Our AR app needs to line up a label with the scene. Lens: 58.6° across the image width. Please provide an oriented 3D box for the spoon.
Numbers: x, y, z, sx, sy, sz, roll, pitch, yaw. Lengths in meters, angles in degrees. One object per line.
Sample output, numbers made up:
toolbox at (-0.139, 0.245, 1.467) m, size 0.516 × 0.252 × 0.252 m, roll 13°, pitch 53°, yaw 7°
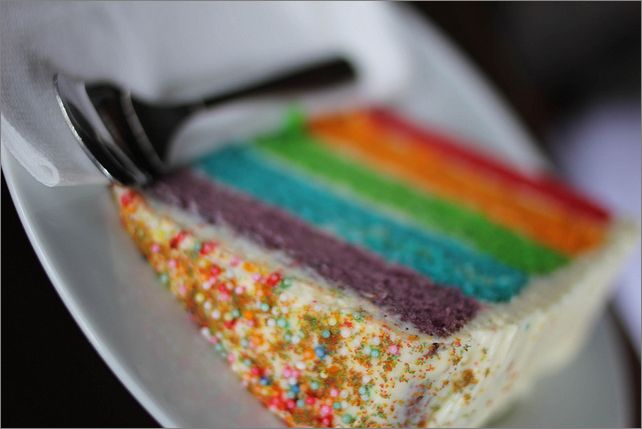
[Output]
spoon at (-0.257, -0.228, 1.278) m, size 0.527 × 0.093 × 0.248 m, roll -19°, pitch 78°, yaw -24°
